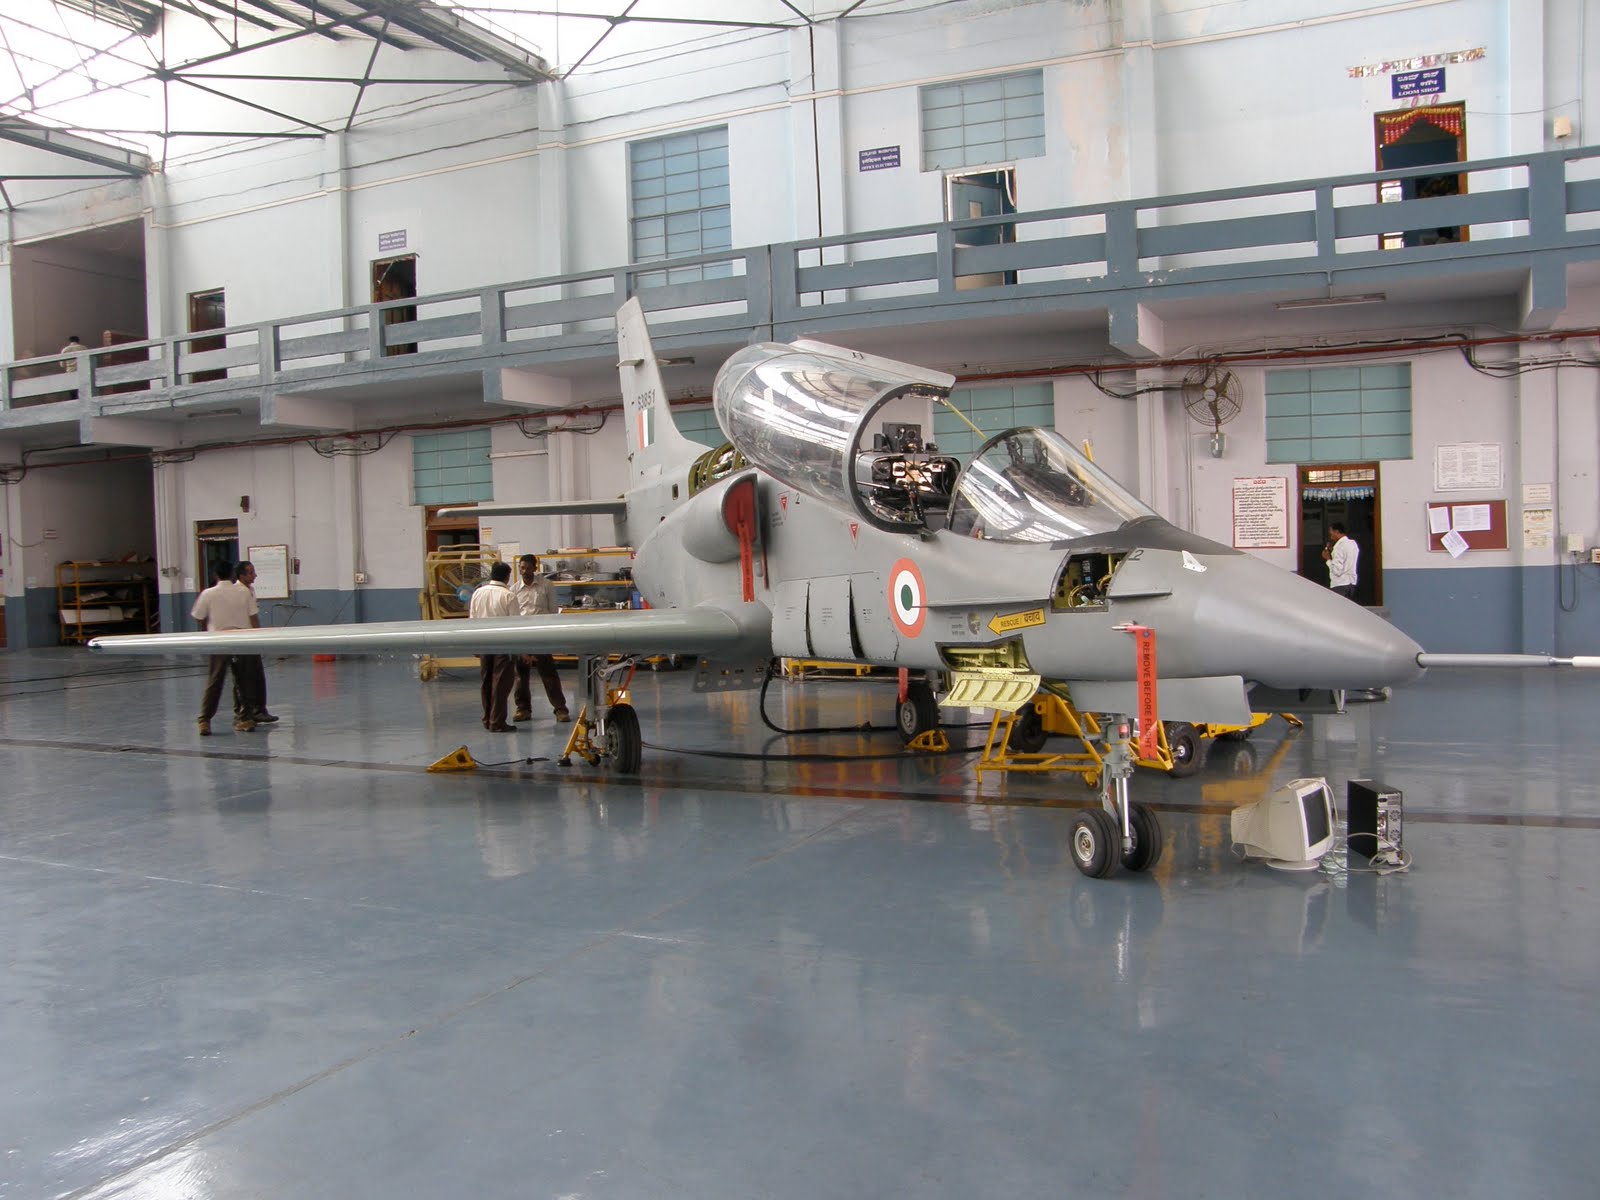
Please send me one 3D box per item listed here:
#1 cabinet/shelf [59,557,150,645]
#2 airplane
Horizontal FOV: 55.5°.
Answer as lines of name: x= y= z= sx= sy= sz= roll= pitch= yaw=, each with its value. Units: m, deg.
cabinet/shelf: x=-12.257 y=-0.013 z=26.762 sx=0.576 sy=1.514 sz=1.723 roll=-4 pitch=-3 yaw=31
airplane: x=0.910 y=-0.121 z=10.275 sx=7.864 sy=3.489 sz=3.563 roll=-2 pitch=4 yaw=36
